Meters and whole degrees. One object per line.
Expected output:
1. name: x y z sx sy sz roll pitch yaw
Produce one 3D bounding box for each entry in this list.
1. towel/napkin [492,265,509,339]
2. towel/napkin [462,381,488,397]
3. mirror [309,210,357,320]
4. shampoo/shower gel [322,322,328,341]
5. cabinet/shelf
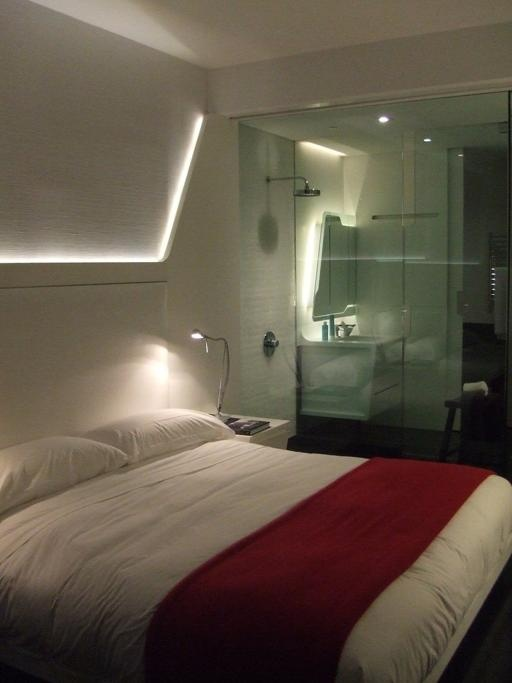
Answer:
1. towel/napkin: 1.586 -0.252 3.513 0.081 0.455 0.048 0 2 28
2. towel/napkin: 1.481 0.318 3.663 0.118 0.101 0.088 12 -1 41
3. mirror: 0.596 -0.585 4.145 0.083 0.820 0.381 -2 4 -35
4. shampoo/shower gel: 0.532 -0.076 4.196 0.057 0.146 0.033 0 2 26
5. cabinet/shelf: 0.850 0.196 4.682 0.703 0.714 1.171 1 8 20
